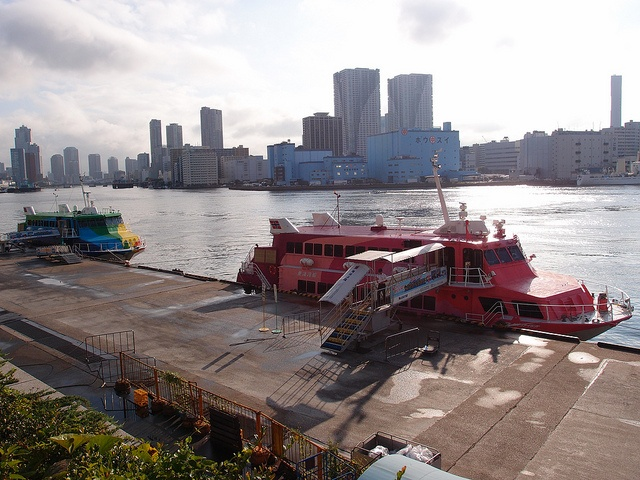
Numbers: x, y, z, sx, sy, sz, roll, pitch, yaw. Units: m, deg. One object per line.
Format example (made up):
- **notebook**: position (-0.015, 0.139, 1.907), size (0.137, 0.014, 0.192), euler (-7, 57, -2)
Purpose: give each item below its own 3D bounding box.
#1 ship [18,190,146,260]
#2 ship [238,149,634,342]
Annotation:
- **ship**: position (-29.267, -1.865, 60.181), size (18.366, 6.952, 6.690), euler (9, 18, 29)
- **ship**: position (3.449, -0.059, 31.126), size (16.541, 10.022, 24.757), euler (-12, 15, -43)
